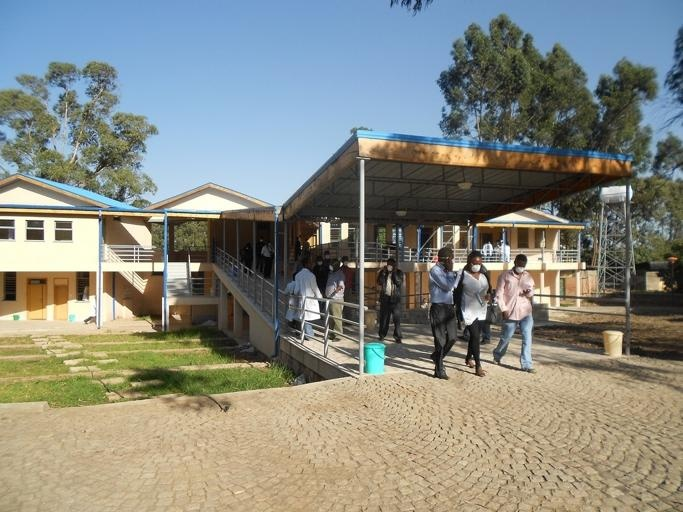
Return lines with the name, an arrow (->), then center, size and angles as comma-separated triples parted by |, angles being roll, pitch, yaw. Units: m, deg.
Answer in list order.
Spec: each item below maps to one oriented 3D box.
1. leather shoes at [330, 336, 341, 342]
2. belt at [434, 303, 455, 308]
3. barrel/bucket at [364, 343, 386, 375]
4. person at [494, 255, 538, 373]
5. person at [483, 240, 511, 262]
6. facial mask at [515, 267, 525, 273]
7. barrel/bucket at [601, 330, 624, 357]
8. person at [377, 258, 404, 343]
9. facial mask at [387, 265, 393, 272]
leather shoes -> -0.163, 2.135, 13.669 | 0.193, 0.180, 0.156 | -12, -1, 23
belt -> 1.847, 0.885, 9.593 | 0.397, 0.087, 0.138 | -2, 4, -6
barrel/bucket -> 0.671, 1.971, 10.247 | 0.451, 0.528, 0.461 | 2, 0, 0
person -> 3.355, 1.077, 10.261 | 0.715, 2.219, 0.595 | 0, 4, 21
person -> 8.600, -0.556, 29.437 | 1.428, 1.266, 1.637 | -2, -3, 24
facial mask -> 3.403, 0.261, 10.138 | 0.101, 0.068, 0.112 | -1, 5, -3
barrel/bucket -> 5.885, 1.880, 11.406 | 0.439, 0.527, 0.507 | 4, -7, -10
person -> 1.196, 1.094, 13.040 | 0.586, 2.092, 0.910 | -1, 4, 6
facial mask -> 1.155, 0.294, 12.675 | 0.129, 0.148, 0.033 | 1, -1, -7
